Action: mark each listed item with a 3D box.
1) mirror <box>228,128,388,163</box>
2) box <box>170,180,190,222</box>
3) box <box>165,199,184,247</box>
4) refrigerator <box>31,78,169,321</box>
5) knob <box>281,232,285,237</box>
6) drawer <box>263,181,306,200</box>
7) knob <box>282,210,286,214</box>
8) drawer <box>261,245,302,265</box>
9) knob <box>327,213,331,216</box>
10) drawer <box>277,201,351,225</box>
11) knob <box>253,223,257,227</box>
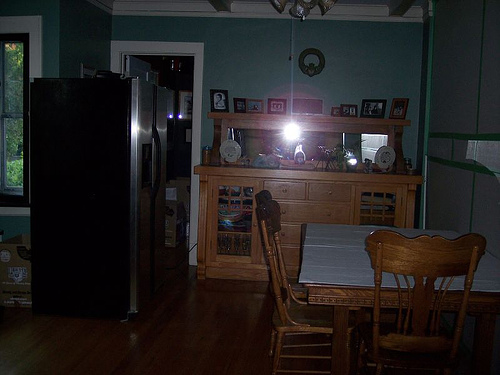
[{"bbox_3d":[0.646,-0.503,4.862,1.833,0.350,0.075,3,10,3],"label":"mirror"},{"bbox_3d":[-1.067,0.138,6.035,0.342,0.619,0.363,2,-3,-1],"label":"box"},{"bbox_3d":[-0.944,0.451,4.890,0.274,0.535,0.297,-2,1,21],"label":"box"},{"bbox_3d":[-1.314,0.082,3.559,1.121,2.041,0.576,0,10,-7],"label":"refrigerator"},{"bbox_3d":[0.344,0.496,4.326,0.027,0.050,0.055,8,12,31],"label":"knob"},{"bbox_3d":[0.380,0.020,4.234,0.309,0.170,0.217,1,3,2],"label":"drawer"},{"bbox_3d":[0.354,0.251,4.319,0.033,0.037,0.013,2,-1,-12],"label":"knob"},{"bbox_3d":[0.317,0.746,4.251,0.403,0.234,0.352,2,11,0],"label":"drawer"},{"bbox_3d":[0.832,0.278,4.306,0.027,0.021,0.016,2,12,9],"label":"knob"},{"bbox_3d":[0.676,0.262,4.314,0.764,0.211,0.039,3,10,2],"label":"drawer"},{"bbox_3d":[0.054,0.387,4.367,0.043,0.049,0.014,-1,3,-3],"label":"knob"}]
